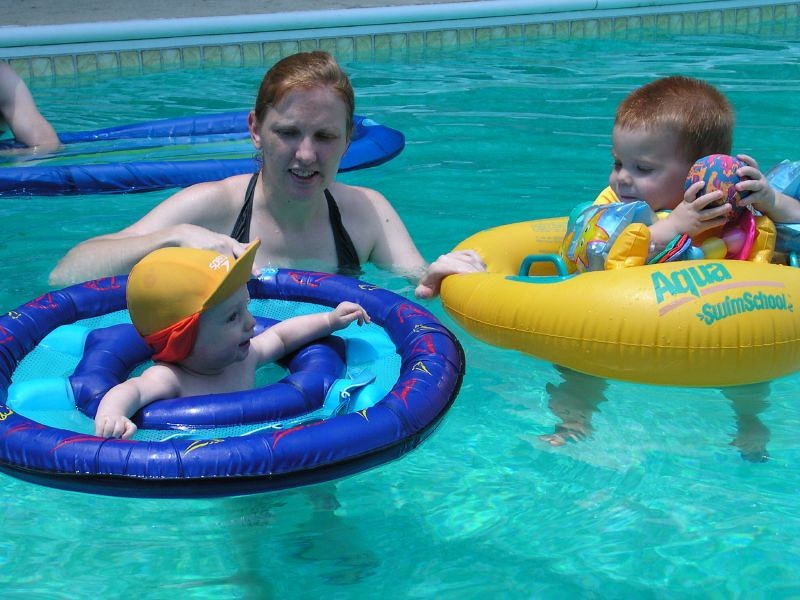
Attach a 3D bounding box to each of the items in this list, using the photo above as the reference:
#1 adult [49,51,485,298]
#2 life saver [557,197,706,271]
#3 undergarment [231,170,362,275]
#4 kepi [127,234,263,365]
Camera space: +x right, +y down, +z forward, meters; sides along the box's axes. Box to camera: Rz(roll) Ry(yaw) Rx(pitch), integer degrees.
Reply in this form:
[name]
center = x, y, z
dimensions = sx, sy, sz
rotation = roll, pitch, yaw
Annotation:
[adult]
center = -0.607, -0.617, 3.963
dimensions = 2.383, 0.878, 0.894
rotation = -1, 3, -33
[life saver]
center = 1.014, -0.330, 3.476
dimensions = 0.521, 0.150, 0.427
rotation = -1, 24, 9
[undergarment]
center = -0.574, -0.403, 3.887
dimensions = 0.691, 0.325, 0.495
rotation = 15, 52, -16
[kepi]
center = -0.810, -0.015, 2.820
dimensions = 0.600, 0.293, 0.397
rotation = -31, 21, 1
